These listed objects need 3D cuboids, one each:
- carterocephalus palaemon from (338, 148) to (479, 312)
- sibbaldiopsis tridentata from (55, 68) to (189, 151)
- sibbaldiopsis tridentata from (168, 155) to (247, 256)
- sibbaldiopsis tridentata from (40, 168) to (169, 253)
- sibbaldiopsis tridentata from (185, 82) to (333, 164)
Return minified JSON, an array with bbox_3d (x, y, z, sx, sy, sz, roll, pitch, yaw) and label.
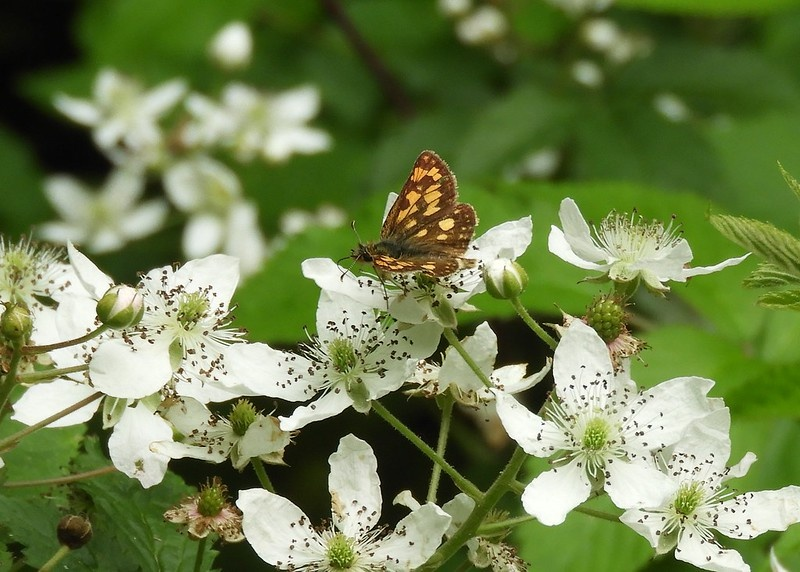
[{"bbox_3d":[0.041,-0.139,2.546,0.326,0.337,0.248,-7,14,9],"label":"carterocephalus palaemon"},{"bbox_3d":[-0.971,-0.601,3.821,0.299,0.124,0.328,6,81,1],"label":"sibbaldiopsis tridentata"},{"bbox_3d":[-0.664,-0.282,3.775,0.289,0.059,0.314,-26,80,-8],"label":"sibbaldiopsis tridentata"},{"bbox_3d":[-1.011,-0.254,3.843,0.165,0.403,0.372,8,18,35],"label":"sibbaldiopsis tridentata"},{"bbox_3d":[-0.490,-0.557,3.856,0.506,0.191,0.193,0,40,-3],"label":"sibbaldiopsis tridentata"}]
